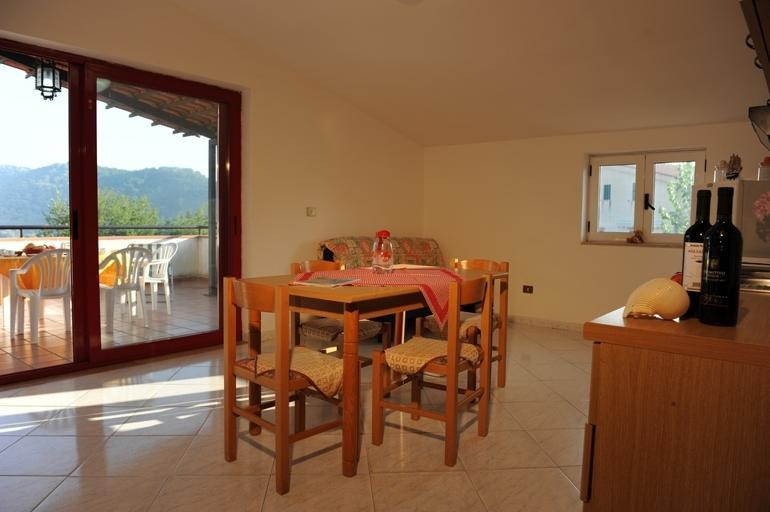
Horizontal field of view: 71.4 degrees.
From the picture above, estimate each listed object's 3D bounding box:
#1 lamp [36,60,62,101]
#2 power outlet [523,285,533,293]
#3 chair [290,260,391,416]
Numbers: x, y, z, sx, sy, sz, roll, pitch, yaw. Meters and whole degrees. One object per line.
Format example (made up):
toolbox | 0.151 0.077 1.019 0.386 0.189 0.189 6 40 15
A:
lamp | -2.756 -1.442 4.403 0.191 0.314 0.050 -9 16 -37
power outlet | 1.641 0.388 6.276 0.120 0.078 0.027 5 1 31
chair | -0.362 0.465 4.510 0.900 1.271 0.835 -1 -1 44
